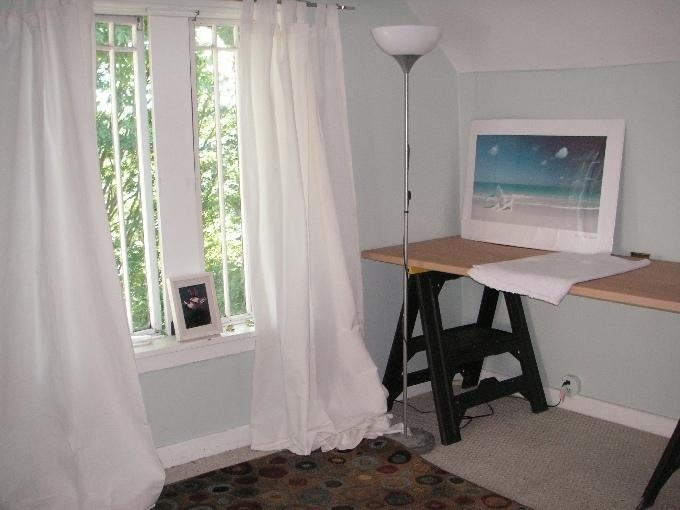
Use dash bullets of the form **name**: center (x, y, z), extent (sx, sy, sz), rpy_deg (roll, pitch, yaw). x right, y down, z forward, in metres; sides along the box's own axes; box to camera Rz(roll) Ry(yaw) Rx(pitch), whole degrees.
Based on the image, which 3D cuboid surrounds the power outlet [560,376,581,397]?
- **power outlet**: center (1.342, 0.779, 3.090), extent (0.118, 0.127, 0.100), rpy_deg (-19, -26, 38)

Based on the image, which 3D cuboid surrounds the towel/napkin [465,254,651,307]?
- **towel/napkin**: center (1.020, 0.062, 2.446), extent (0.511, 0.114, 0.406), rpy_deg (-22, 23, -37)

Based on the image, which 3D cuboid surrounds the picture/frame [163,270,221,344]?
- **picture/frame**: center (-0.762, 0.271, 2.653), extent (0.297, 0.406, 0.065), rpy_deg (-12, 1, -36)

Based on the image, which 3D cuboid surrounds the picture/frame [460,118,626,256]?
- **picture/frame**: center (1.154, -0.374, 2.891), extent (0.745, 0.602, 0.014), rpy_deg (8, 2, 43)
